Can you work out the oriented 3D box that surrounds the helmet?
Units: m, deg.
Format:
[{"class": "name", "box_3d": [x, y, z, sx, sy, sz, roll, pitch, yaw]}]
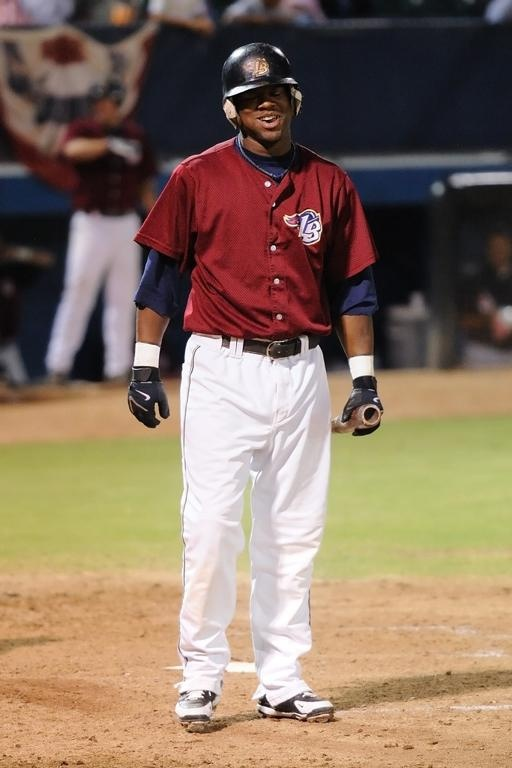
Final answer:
[{"class": "helmet", "box_3d": [0.005, -0.678, 2.355, 0.140, 0.078, 0.164, -13, 7, -11]}]

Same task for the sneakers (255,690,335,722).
[{"class": "sneakers", "box_3d": [0.096, 0.720, 2.413, 0.189, 0.071, 0.063, -4, -9, 22]}]

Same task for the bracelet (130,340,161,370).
[{"class": "bracelet", "box_3d": [-0.243, -0.070, 2.373, 0.065, 0.056, 0.060, 2, -2, -17]}]

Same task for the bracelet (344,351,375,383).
[{"class": "bracelet", "box_3d": [0.250, -0.043, 2.496, 0.070, 0.051, 0.056, -3, 2, -10]}]

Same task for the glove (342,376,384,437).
[{"class": "glove", "box_3d": [0.249, 0.040, 2.484, 0.101, 0.135, 0.057, -5, -35, -6]}]

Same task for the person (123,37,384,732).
[{"class": "person", "box_3d": [0.010, -0.003, 2.373, 0.570, 1.507, 0.299, 1, 4, -6]}]
